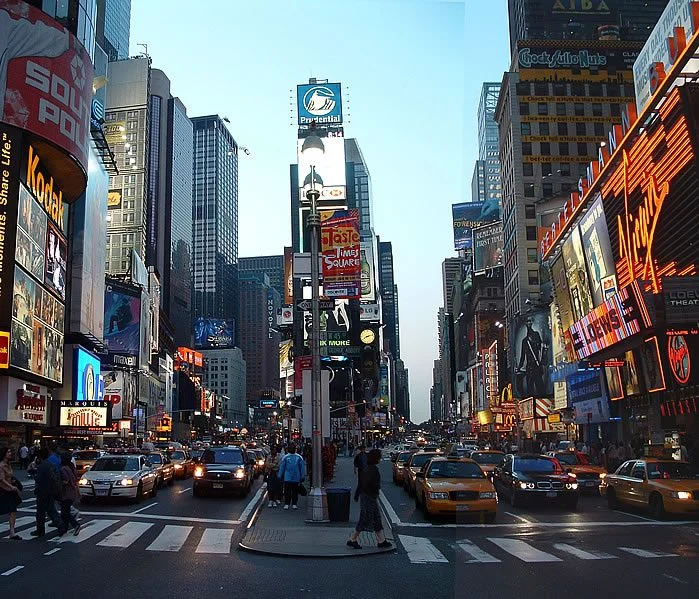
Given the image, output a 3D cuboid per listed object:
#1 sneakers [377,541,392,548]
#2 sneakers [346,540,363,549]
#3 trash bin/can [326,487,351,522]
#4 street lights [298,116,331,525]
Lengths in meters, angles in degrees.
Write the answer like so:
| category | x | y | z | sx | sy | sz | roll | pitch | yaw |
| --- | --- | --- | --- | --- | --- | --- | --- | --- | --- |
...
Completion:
| category | x | y | z | sx | sy | sz | roll | pitch | yaw |
| --- | --- | --- | --- | --- | --- | --- | --- | --- | --- |
| sneakers | 0.724 | 5.112 | 13.639 | 0.248 | 0.135 | 0.149 | -2 | -2 | 4 |
| sneakers | 0.083 | 5.017 | 13.436 | 0.294 | 0.153 | 0.112 | 7 | -4 | -32 |
| trash bin/can | -0.315 | 5.793 | 18.563 | 0.783 | 1.150 | 0.810 | 0 | -13 | -1 |
| street lights | -1.303 | 0.101 | 21.521 | 0.702 | 9.036 | 0.766 | 1 | -8 | -8 |
